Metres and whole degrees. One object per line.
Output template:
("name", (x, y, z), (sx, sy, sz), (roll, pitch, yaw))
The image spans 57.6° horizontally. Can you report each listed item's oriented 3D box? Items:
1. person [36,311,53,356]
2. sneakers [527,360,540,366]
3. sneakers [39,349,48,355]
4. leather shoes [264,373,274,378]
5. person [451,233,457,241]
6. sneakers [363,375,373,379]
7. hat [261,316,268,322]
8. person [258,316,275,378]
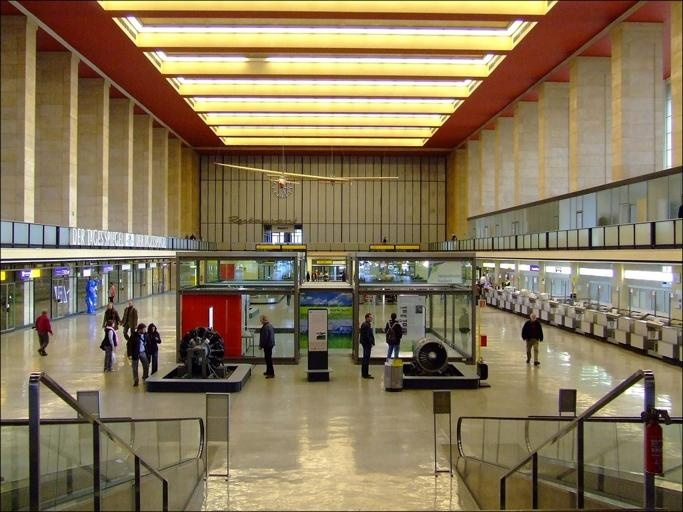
("person", (-10.694, 2.793, 22.460), (0.454, 1.688, 1.976), (0, -2, -25))
("sneakers", (6.784, 3.797, 22.019), (0.489, 0.241, 0.168), (-5, 0, 32))
("sneakers", (-10.777, 3.521, 22.586), (0.370, 0.173, 0.130), (-4, -3, 34))
("leather shoes", (-2.314, 3.893, 20.172), (0.283, 0.131, 0.107), (4, 12, 4))
("person", (10.104, -1.702, 55.341), (0.412, 0.710, 1.357), (-5, -5, 6))
("sneakers", (0.903, 3.956, 20.298), (0.322, 0.153, 0.113), (0, -1, -9))
("hat", (-2.456, 2.062, 20.227), (0.149, 0.162, 0.205), (-5, -22, -19))
("person", (-2.413, 2.974, 20.533), (0.499, 1.985, 1.330), (0, -2, -8))
